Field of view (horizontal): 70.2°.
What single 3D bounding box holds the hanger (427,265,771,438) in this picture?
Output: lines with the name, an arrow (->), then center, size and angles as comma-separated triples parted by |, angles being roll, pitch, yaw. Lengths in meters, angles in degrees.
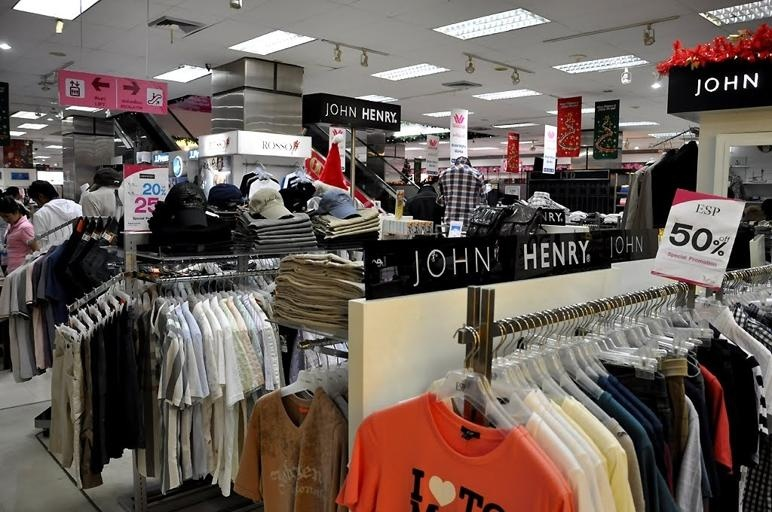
hanger -> 1.152, 0.297, 2.851 | 1.964, 0.737, 0.523 | -6, 7, -32

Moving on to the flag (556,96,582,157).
flag -> 3.996, -2.806, 11.943 | 0.507, 1.243, 0.460 | 5, 10, 25

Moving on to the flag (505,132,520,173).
flag -> 3.712, -3.002, 15.915 | 0.314, 1.121, 0.960 | 2, 10, 10

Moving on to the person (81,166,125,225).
person -> -3.381, -0.751, 6.475 | 0.438, 0.528, 1.037 | -4, 11, -26

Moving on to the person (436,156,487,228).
person -> 1.014, -0.816, 7.148 | 0.631, 0.895, 2.363 | 2, 10, 5

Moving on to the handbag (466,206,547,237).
handbag -> 0.891, -0.275, 4.103 | 0.530, 0.208, 0.387 | 3, 10, 12

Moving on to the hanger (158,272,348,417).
hanger -> -1.068, 0.512, 4.125 | 1.124, 1.341, 0.779 | 4, -15, -38

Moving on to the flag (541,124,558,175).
flag -> 3.782, -2.411, 12.515 | 0.275, 1.051, 0.570 | 3, 9, 16
